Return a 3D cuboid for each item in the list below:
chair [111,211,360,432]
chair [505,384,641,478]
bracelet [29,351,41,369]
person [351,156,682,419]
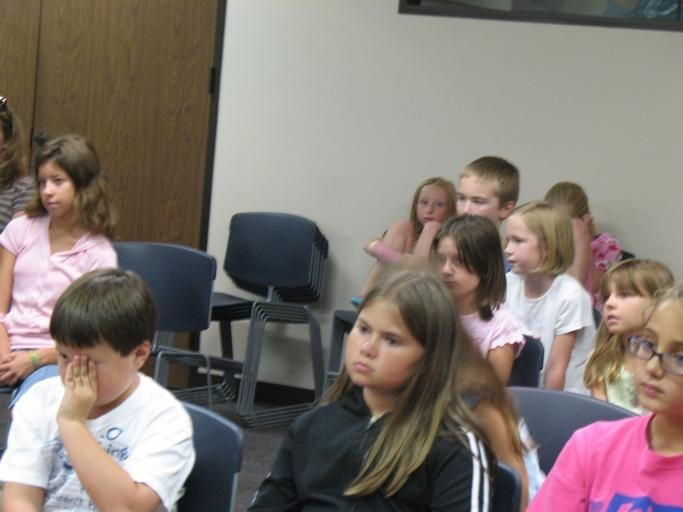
[{"bbox_3d":[-0.738,0.209,3.487,1.054,1.370,1.036,0,-4,35],"label":"chair"},{"bbox_3d":[0.647,0.460,1.847,0.258,0.351,0.240,3,-15,10],"label":"chair"},{"bbox_3d":[-1.080,0.364,2.296,0.047,0.051,0.046,7,27,-11],"label":"bracelet"},{"bbox_3d":[0.703,0.016,2.979,1.079,1.391,1.145,7,-18,17],"label":"person"}]
